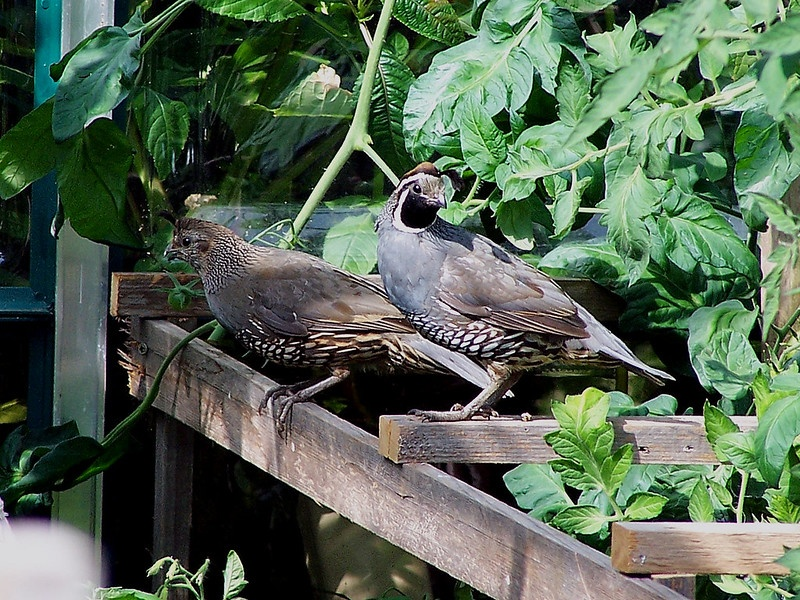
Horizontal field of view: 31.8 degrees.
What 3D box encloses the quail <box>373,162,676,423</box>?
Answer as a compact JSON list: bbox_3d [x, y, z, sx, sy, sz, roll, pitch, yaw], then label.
[{"bbox_3d":[0.302,0.002,4.018,0.993,0.640,0.326,7,6,-4],"label":"quail"}]
